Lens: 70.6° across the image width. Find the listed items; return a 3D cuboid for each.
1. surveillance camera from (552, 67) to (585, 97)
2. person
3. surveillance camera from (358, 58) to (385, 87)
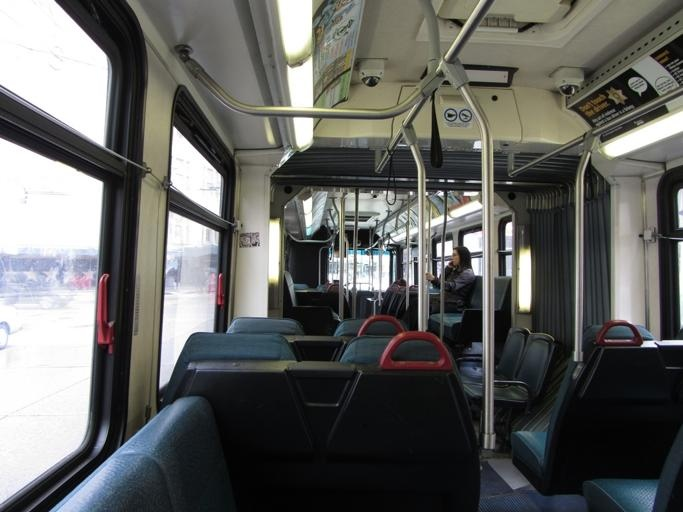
[{"bbox_3d":[2.033,-1.552,4.349,0.200,0.177,0.206,0,-2,-2],"label":"surveillance camera"},{"bbox_3d":[1.562,0.579,7.571,0.807,1.528,0.719,12,-4,7],"label":"person"},{"bbox_3d":[0.274,-1.648,4.325,0.229,0.166,0.208,0,-3,4],"label":"surveillance camera"}]
